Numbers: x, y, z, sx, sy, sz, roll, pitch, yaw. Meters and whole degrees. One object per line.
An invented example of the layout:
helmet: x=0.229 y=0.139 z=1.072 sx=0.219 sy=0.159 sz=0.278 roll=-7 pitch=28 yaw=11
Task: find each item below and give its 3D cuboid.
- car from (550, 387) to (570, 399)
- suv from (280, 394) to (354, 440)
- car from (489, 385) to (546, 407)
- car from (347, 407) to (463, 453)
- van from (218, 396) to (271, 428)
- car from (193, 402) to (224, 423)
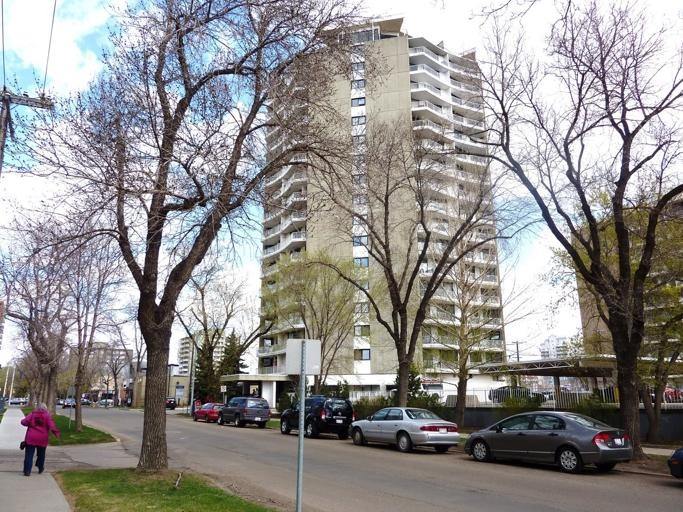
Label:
car: x=12.729 y=7.986 z=32.439 sx=1.065 sy=0.748 sz=3.549 roll=-5 pitch=-18 yaw=20
suv: x=-1.234 y=8.536 z=29.634 sx=2.626 sy=2.175 sz=4.881 roll=15 pitch=-21 yaw=-41
car: x=10.571 y=8.399 z=33.500 sx=3.013 sy=1.148 sz=6.243 roll=-2 pitch=-17 yaw=11
car: x=2.358 y=7.218 z=23.228 sx=1.817 sy=1.687 sz=5.574 roll=13 pitch=-20 yaw=-38
van: x=-6.669 y=10.505 z=37.560 sx=3.956 sy=1.933 sz=1.475 roll=-13 pitch=-20 yaw=40
car: x=-10.286 y=11.964 z=42.532 sx=1.494 sy=1.194 sz=3.374 roll=7 pitch=-12 yaw=-30
